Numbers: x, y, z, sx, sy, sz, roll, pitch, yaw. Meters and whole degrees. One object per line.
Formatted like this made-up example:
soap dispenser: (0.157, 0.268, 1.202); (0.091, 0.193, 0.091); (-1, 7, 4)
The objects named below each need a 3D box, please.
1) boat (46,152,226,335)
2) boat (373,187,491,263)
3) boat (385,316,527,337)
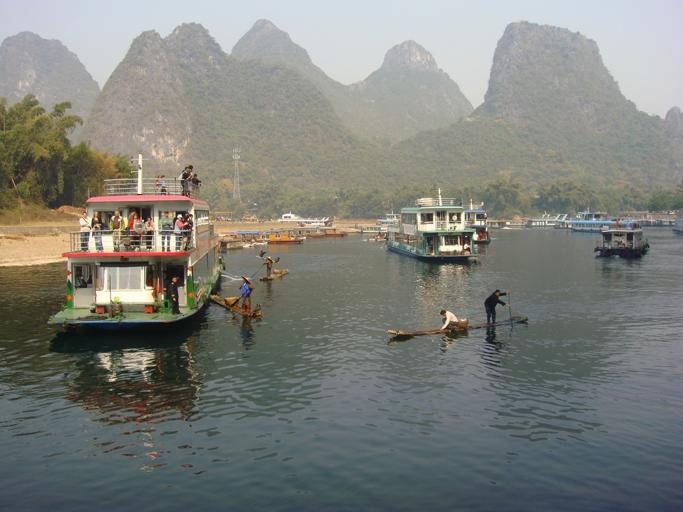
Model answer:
boat: (-16.209, -0.625, 61.786); (8.112, 7.759, 22.533); (1, 6, 0)
boat: (15.725, -3.406, 112.954); (8.543, 8.581, 26.423); (0, 1, -5)
boat: (9.136, 5.610, 56.664); (9.090, 0.473, 4.631); (-4, 6, -14)
